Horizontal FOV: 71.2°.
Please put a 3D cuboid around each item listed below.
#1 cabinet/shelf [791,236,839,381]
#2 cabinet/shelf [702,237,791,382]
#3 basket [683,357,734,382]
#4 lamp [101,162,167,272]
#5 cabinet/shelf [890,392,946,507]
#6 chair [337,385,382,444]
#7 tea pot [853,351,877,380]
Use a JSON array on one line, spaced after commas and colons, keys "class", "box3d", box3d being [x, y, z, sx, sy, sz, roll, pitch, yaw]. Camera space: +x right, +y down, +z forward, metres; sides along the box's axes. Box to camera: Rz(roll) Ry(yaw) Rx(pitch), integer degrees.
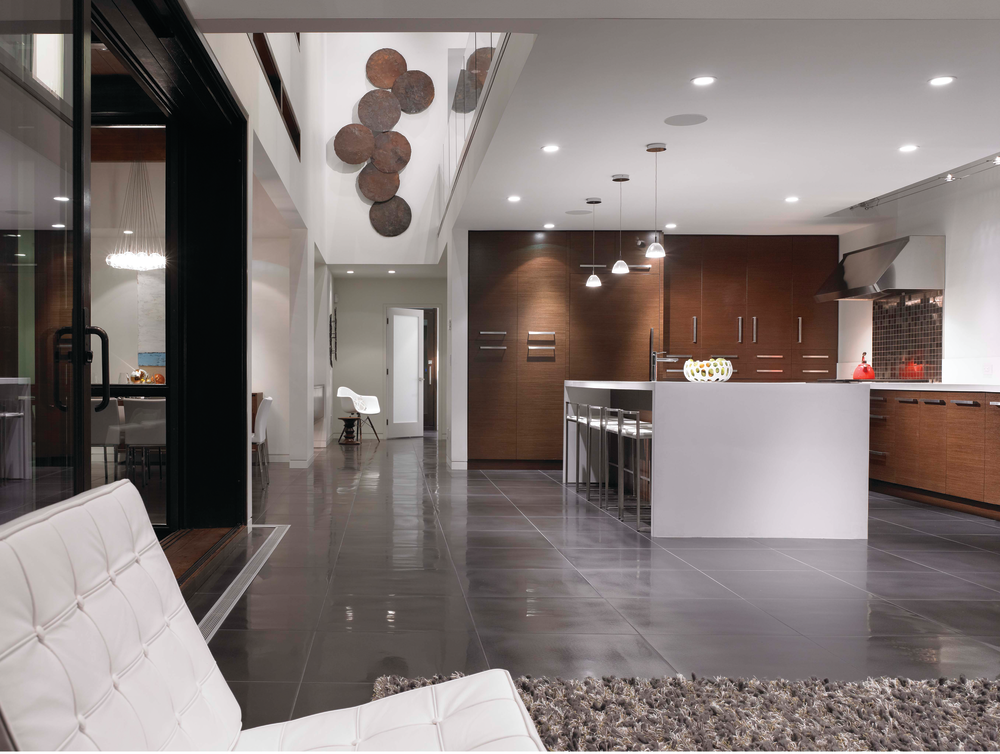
[{"class": "cabinet/shelf", "box3d": [3.981, -0.977, 8.576, 0.296, 1.500, 0.438, 20, 11, 8]}, {"class": "cabinet/shelf", "box3d": [2.938, -0.780, 8.789, 0.995, 1.832, 0.548, 6, -36, 8]}, {"class": "basket", "box3d": [1.734, -0.065, 5.841, 0.334, 0.155, 0.306, 0, 0, -31]}, {"class": "lamp", "box3d": [-2.389, -1.053, 4.518, 0.177, 0.745, 0.399, 2, 3, 16]}, {"class": "cabinet/shelf", "box3d": [3.879, 0.605, 6.252, 0.628, 0.893, 0.629, 2, 0, 34]}, {"class": "chair", "box3d": [-2.368, 0.599, 11.479, 0.582, 0.889, 0.751, 0, -1, 28]}, {"class": "tea pot", "box3d": [4.054, -0.121, 7.732, 0.279, 0.327, 0.286, 0, -4, 0]}]
